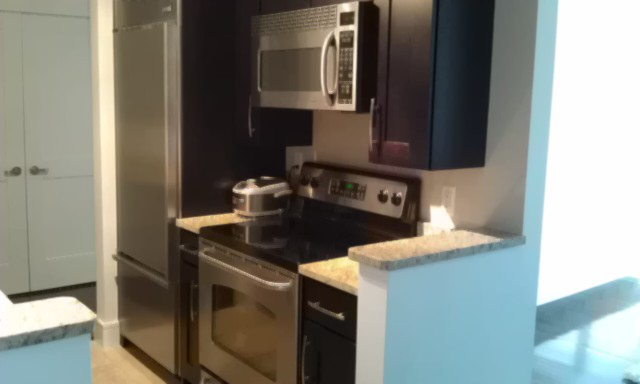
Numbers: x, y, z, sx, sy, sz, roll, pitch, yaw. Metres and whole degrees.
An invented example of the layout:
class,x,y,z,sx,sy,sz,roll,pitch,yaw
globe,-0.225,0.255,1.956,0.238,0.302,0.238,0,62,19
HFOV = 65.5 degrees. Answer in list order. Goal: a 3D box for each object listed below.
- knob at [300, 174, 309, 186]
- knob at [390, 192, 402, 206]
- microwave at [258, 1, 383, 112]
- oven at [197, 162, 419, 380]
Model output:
class,x,y,z,sx,sy,sz,roll,pitch,yaw
knob,-0.115,-0.094,3.663,0.047,0.081,0.029,4,13,22
knob,0.477,0.036,3.171,0.059,0.079,0.024,2,-1,39
microwave,0.031,-0.869,3.139,0.412,0.554,0.797,-3,6,-41
oven,-0.164,0.575,3.307,1.189,1.337,0.913,-14,19,-36
